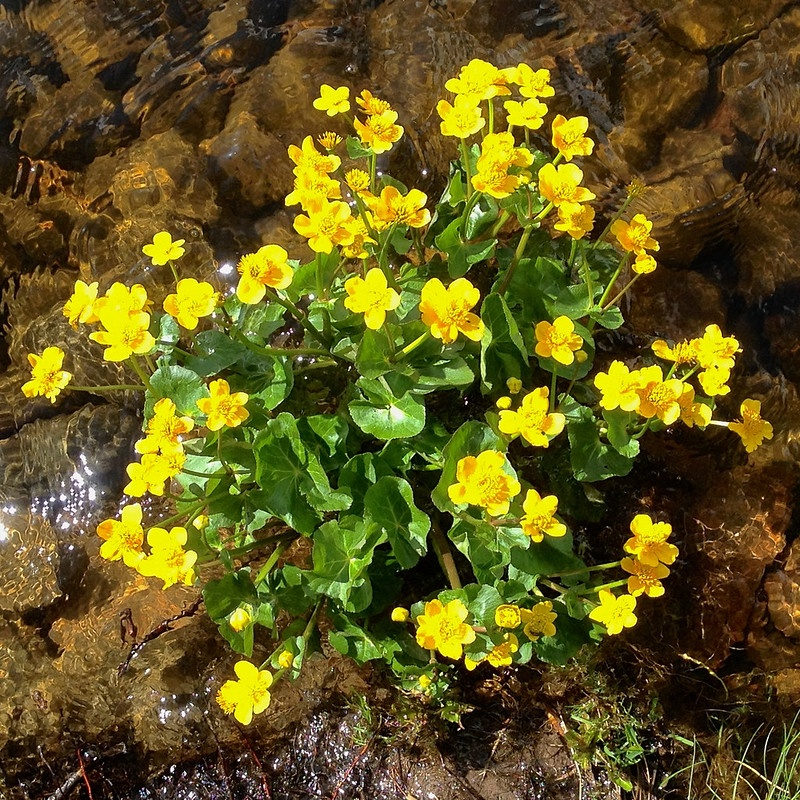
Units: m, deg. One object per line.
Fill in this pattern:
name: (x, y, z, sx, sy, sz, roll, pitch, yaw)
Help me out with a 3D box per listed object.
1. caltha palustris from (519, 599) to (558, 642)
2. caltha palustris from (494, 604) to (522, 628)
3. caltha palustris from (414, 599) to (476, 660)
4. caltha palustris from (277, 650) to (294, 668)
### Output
caltha palustris: (0.488, 0.765, 3.104, 0.129, 0.192, 0.100, -11, 58, -1)
caltha palustris: (0.371, 0.719, 2.989, 0.088, 0.027, 0.074, 9, 103, 13)
caltha palustris: (0.155, 0.734, 2.898, 0.188, 0.102, 0.167, 18, 61, 15)
caltha palustris: (-0.399, 0.901, 3.108, 0.042, 0.044, 0.058, -56, 25, 4)
